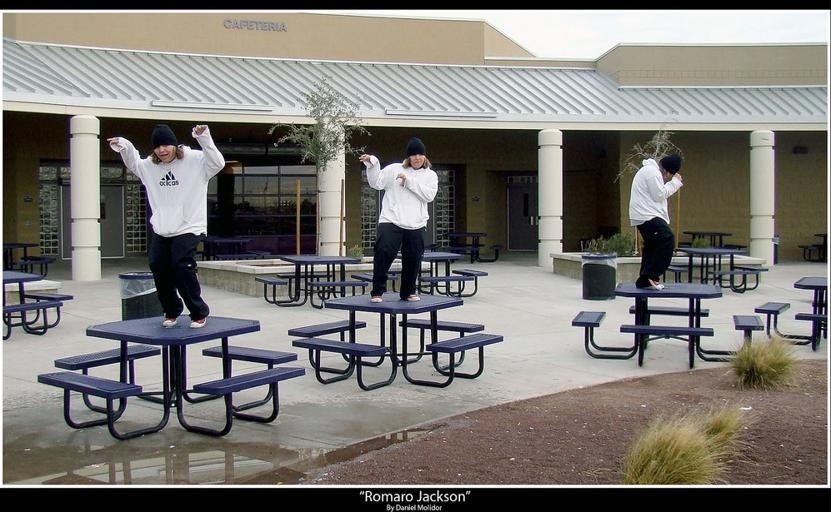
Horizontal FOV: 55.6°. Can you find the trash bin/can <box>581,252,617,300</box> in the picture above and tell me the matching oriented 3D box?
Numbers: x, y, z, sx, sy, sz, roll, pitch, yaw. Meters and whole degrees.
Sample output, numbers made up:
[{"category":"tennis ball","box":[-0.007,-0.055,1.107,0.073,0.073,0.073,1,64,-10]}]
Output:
[{"category":"trash bin/can","box":[3.967,0.440,17.192,1.042,1.088,1.008,-1,2,17]}]

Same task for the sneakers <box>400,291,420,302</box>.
[{"category":"sneakers","box":[-0.074,0.595,11.363,0.259,0.102,0.103,-5,2,26]}]

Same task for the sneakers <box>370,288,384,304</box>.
[{"category":"sneakers","box":[-0.554,0.572,11.414,0.208,0.223,0.591,0,-2,1]}]

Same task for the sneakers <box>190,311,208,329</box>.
[{"category":"sneakers","box":[-2.738,0.784,10.001,0.207,0.198,0.415,1,3,-14]}]

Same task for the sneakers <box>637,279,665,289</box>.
[{"category":"sneakers","box":[3.710,0.449,12.552,0.465,0.185,0.163,1,5,20]}]

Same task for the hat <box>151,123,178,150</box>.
[{"category":"hat","box":[-3.283,-1.574,10.331,0.337,0.311,0.341,-3,-7,-14]}]

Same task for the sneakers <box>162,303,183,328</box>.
[{"category":"sneakers","box":[-3.109,0.740,10.105,0.229,0.282,0.459,1,3,-17]}]
